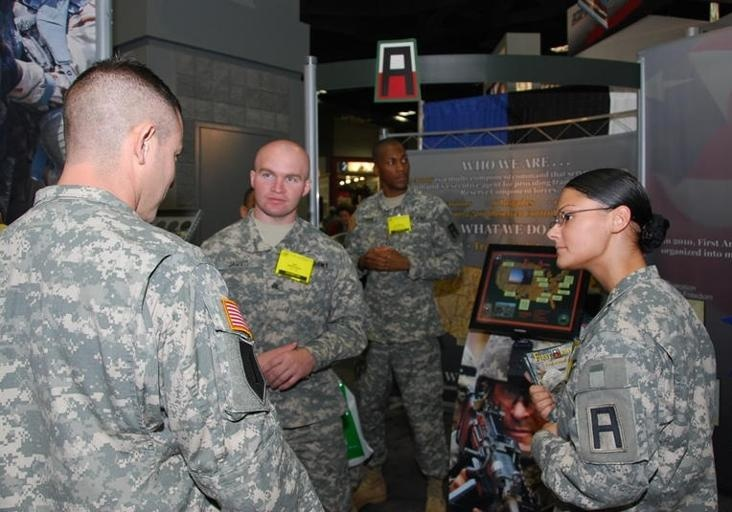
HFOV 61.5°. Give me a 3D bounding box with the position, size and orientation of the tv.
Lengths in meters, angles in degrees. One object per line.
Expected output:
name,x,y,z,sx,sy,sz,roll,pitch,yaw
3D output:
tv,0.807,0.190,2.976,0.477,0.413,0.092,10,-20,33
